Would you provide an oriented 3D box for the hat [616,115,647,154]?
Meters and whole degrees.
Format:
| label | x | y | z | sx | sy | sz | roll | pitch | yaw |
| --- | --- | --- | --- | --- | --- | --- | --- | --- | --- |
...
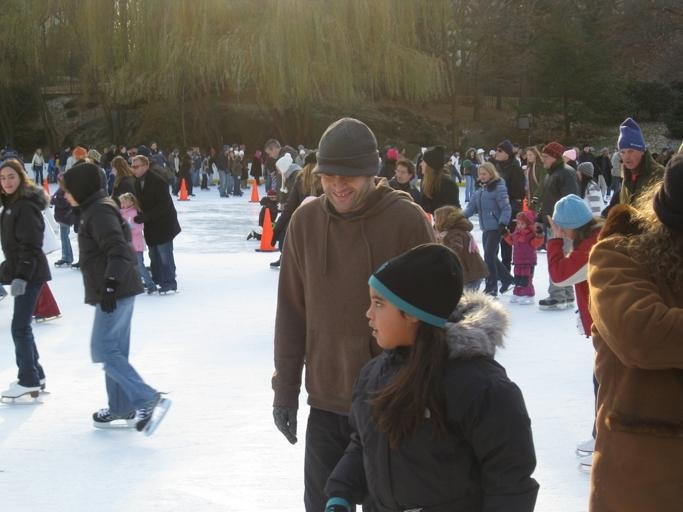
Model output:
| label | x | y | z | sx | sy | sz | roll | pitch | yaw |
| --- | --- | --- | --- | --- | --- | --- | --- | --- | --- |
| hat | 2.781 | -1.165 | 7.633 | 0.265 | 0.391 | 0.382 | -5 | 2 | 24 |

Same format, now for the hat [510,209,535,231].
| label | x | y | z | sx | sy | sz | roll | pitch | yaw |
| --- | --- | --- | --- | --- | --- | --- | --- | --- | --- |
| hat | 2.422 | -0.475 | 10.437 | 0.323 | 0.302 | 0.250 | -2 | 2 | -38 |

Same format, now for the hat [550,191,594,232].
| label | x | y | z | sx | sy | sz | roll | pitch | yaw |
| --- | --- | --- | --- | --- | --- | --- | --- | --- | --- |
| hat | 1.898 | -0.373 | 6.626 | 0.220 | 0.179 | 0.320 | -18 | 15 | 4 |

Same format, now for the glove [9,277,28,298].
| label | x | y | z | sx | sy | sz | roll | pitch | yaw |
| --- | --- | --- | --- | --- | --- | --- | --- | --- | --- |
| glove | -2.663 | 0.262 | 6.574 | 0.115 | 0.145 | 0.128 | 4 | -6 | -2 |

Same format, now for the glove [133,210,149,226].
| label | x | y | z | sx | sy | sz | roll | pitch | yaw |
| --- | --- | --- | --- | --- | --- | --- | --- | --- | --- |
| glove | -2.640 | -0.502 | 10.393 | 0.127 | 0.259 | 0.139 | -1 | -40 | 35 |

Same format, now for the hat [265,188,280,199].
| label | x | y | z | sx | sy | sz | roll | pitch | yaw |
| --- | --- | --- | --- | --- | --- | --- | --- | --- | --- |
| hat | -1.315 | -1.188 | 15.140 | 0.206 | 0.265 | 0.299 | 1 | -4 | -19 |

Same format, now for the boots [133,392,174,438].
| label | x | y | z | sx | sy | sz | roll | pitch | yaw |
| --- | --- | --- | --- | --- | --- | --- | --- | --- | --- |
| boots | -1.445 | 1.177 | 6.147 | 0.158 | 0.147 | 0.425 | 30 | 33 | -5 |

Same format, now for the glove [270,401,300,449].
| label | x | y | z | sx | sy | sz | roll | pitch | yaw |
| --- | --- | --- | --- | --- | --- | --- | --- | --- | --- |
| glove | -0.300 | 0.874 | 4.046 | 0.147 | 0.202 | 0.052 | 9 | -32 | -24 |

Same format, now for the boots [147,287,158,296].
| label | x | y | z | sx | sy | sz | roll | pitch | yaw |
| --- | --- | --- | --- | --- | --- | --- | --- | --- | --- |
| boots | -2.558 | 0.488 | 10.771 | 0.069 | 0.100 | 0.102 | -3 | -5 | 7 |

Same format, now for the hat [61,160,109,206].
| label | x | y | z | sx | sy | sz | roll | pitch | yaw |
| --- | --- | --- | --- | --- | --- | --- | --- | --- | --- |
| hat | -2.005 | -0.575 | 6.181 | 0.318 | 0.364 | 0.247 | -7 | 6 | 14 |

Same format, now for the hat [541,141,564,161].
| label | x | y | z | sx | sy | sz | roll | pitch | yaw |
| --- | --- | --- | --- | --- | --- | --- | --- | --- | --- |
| hat | 2.675 | -1.334 | 9.966 | 0.248 | 0.237 | 0.196 | 20 | 3 | -4 |

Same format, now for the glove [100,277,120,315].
| label | x | y | z | sx | sy | sz | roll | pitch | yaw |
| --- | --- | --- | --- | --- | --- | --- | --- | --- | --- |
| glove | -1.711 | 0.289 | 5.829 | 0.134 | 0.244 | 0.091 | -4 | 11 | -19 |

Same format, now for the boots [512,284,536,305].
| label | x | y | z | sx | sy | sz | roll | pitch | yaw |
| --- | --- | --- | --- | --- | --- | --- | --- | --- | --- |
| boots | 2.343 | 0.502 | 10.171 | 0.160 | 0.243 | 0.327 | 0 | 9 | -2 |

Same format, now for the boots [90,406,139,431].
| label | x | y | z | sx | sy | sz | roll | pitch | yaw |
| --- | --- | --- | --- | --- | --- | --- | --- | --- | --- |
| boots | -1.746 | 1.273 | 6.183 | 0.378 | 0.203 | 0.142 | 5 | -5 | -11 |

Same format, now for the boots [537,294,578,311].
| label | x | y | z | sx | sy | sz | roll | pitch | yaw |
| --- | --- | --- | --- | --- | --- | --- | --- | --- | --- |
| boots | 2.645 | 0.578 | 9.771 | 0.463 | 0.270 | 0.169 | 4 | -1 | -13 |

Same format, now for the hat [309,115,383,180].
| label | x | y | z | sx | sy | sz | roll | pitch | yaw |
| --- | --- | --- | --- | --- | --- | --- | --- | --- | --- |
| hat | 0.024 | -0.535 | 3.939 | 0.230 | 0.228 | 0.326 | 7 | 11 | 26 |

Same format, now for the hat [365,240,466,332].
| label | x | y | z | sx | sy | sz | roll | pitch | yaw |
| --- | --- | --- | --- | --- | --- | --- | --- | --- | --- |
| hat | 0.314 | 0.121 | 3.255 | 0.325 | 0.306 | 0.263 | 16 | 5 | 23 |
